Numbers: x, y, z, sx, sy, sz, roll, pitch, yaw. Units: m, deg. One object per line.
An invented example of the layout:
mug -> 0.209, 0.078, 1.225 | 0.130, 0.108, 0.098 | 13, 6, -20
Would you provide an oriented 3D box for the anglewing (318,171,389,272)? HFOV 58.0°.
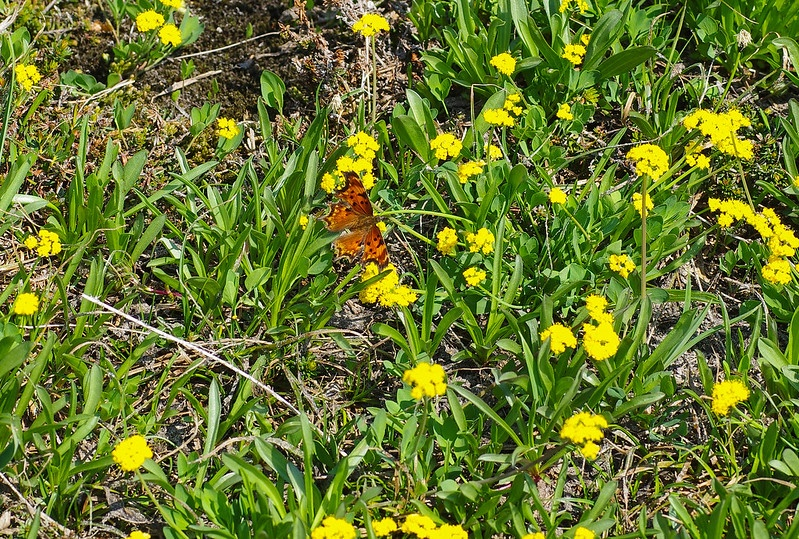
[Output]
anglewing -> -0.251, -0.218, 4.074 | 0.310, 0.635, 0.132 | -22, 16, -12
